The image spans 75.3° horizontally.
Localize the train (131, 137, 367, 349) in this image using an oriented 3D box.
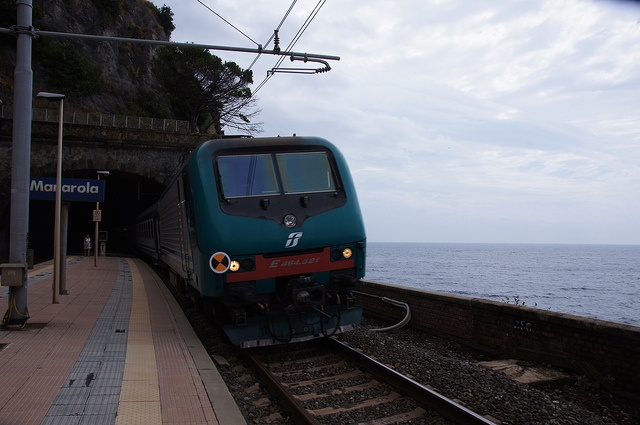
[{"bbox_3d":[-1.485,0.511,8.931,4.249,4.311,2.569,-2,-1,32],"label":"train"}]
